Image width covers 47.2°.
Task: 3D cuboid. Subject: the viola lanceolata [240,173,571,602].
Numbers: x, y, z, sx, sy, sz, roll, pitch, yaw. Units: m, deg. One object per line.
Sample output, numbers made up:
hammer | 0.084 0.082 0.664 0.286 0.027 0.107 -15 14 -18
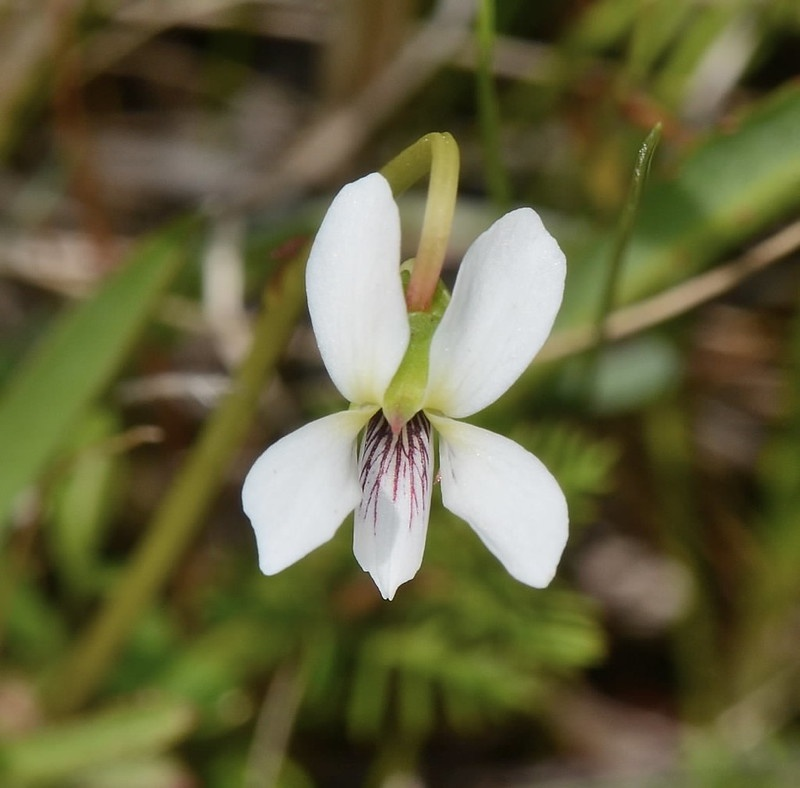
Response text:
viola lanceolata | 0.006 0.029 0.652 0.218 0.268 0.200 3 54 -2
